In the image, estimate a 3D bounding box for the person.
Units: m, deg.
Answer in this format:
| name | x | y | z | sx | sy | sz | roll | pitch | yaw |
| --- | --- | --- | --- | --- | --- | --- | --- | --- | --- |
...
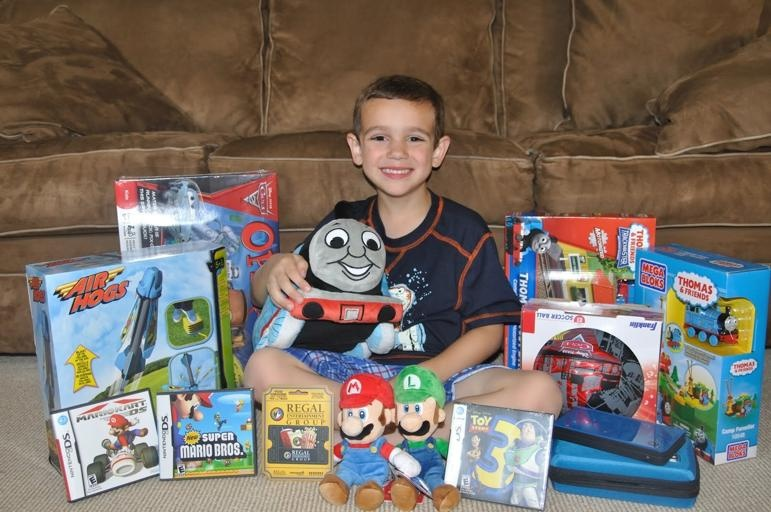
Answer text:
| name | x | y | z | sx | sy | sz | roll | pitch | yaw |
| --- | --- | --- | --- | --- | --- | --- | --- | --- | --- |
| person | 0.065 | 0.004 | 1.956 | 1.128 | 1.035 | 0.744 | 6 | 13 | 21 |
